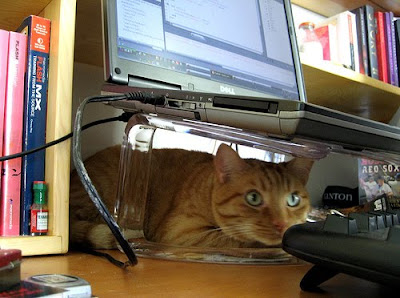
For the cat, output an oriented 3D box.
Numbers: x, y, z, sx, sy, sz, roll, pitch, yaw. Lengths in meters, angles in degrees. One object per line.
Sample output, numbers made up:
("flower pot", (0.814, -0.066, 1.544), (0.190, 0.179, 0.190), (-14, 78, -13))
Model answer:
("cat", (-0.038, 0.060, 0.700), (0.391, 0.127, 0.275), (2, 1, 4))
